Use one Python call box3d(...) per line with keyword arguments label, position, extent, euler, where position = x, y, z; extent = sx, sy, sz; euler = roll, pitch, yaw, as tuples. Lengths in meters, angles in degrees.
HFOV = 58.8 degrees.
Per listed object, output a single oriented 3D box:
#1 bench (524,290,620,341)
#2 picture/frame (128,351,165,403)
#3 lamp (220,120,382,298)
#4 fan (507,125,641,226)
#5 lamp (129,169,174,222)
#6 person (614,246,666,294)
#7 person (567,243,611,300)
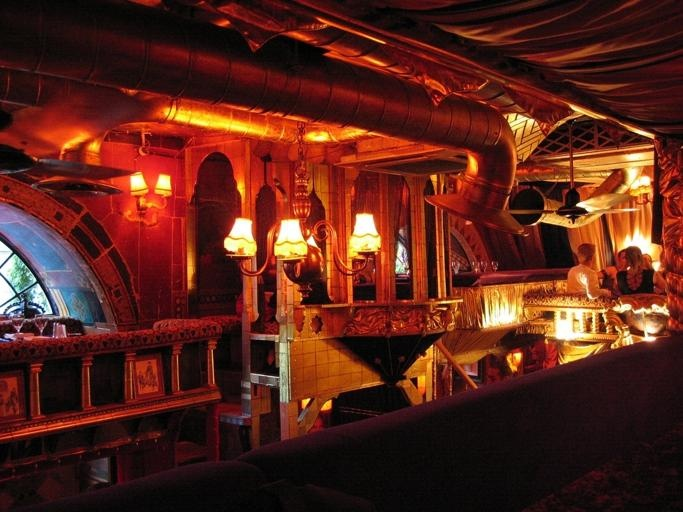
box3d(label="bench", position=(4.313, 1.106, 10.923), extent=(1.225, 0.555, 0.934), euler=(0, -2, 34))
box3d(label="picture/frame", position=(-2.246, 1.392, 6.909), extent=(0.056, 0.670, 0.678), euler=(-5, -3, 31))
box3d(label="lamp", position=(-0.345, -0.492, 6.492), extent=(1.461, 1.932, 2.160), euler=(-1, 4, 3))
box3d(label="fan", position=(3.829, -1.374, 10.044), extent=(1.784, 1.726, 1.737), euler=(6, -9, -38))
box3d(label="lamp", position=(-2.718, -0.860, 8.544), extent=(0.512, 0.755, 0.709), euler=(-10, -10, 29))
box3d(label="person", position=(4.521, 0.227, 9.129), extent=(0.597, 0.769, 1.036), euler=(-1, 4, 13))
box3d(label="person", position=(4.307, 0.229, 10.652), extent=(0.664, 0.890, 1.143), euler=(-1, 4, 13))
